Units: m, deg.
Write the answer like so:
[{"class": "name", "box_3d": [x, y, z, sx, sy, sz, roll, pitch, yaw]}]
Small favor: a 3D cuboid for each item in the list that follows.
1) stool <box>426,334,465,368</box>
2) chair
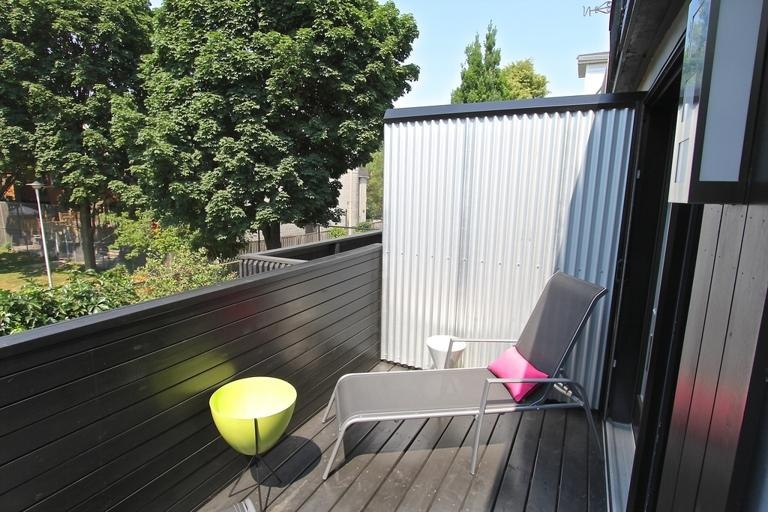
[{"class": "stool", "box_3d": [0.577, 0.831, 4.403, 0.312, 0.255, 0.340, 2, 6, 14]}, {"class": "chair", "box_3d": [0.609, 0.871, 3.760, 2.127, 1.423, 0.850, 1, 12, -10]}]
